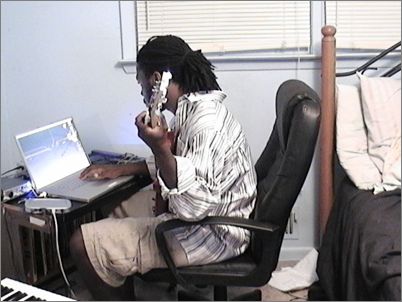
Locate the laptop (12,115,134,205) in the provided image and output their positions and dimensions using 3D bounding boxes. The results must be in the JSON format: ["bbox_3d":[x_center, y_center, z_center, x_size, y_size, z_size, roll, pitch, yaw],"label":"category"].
[{"bbox_3d":[-0.661,0.037,1.891,0.461,0.333,0.468,8,20,24],"label":"laptop"}]

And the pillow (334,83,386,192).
[{"bbox_3d":[0.844,-0.075,2.020,0.117,0.429,0.438,-18,42,24],"label":"pillow"}]
